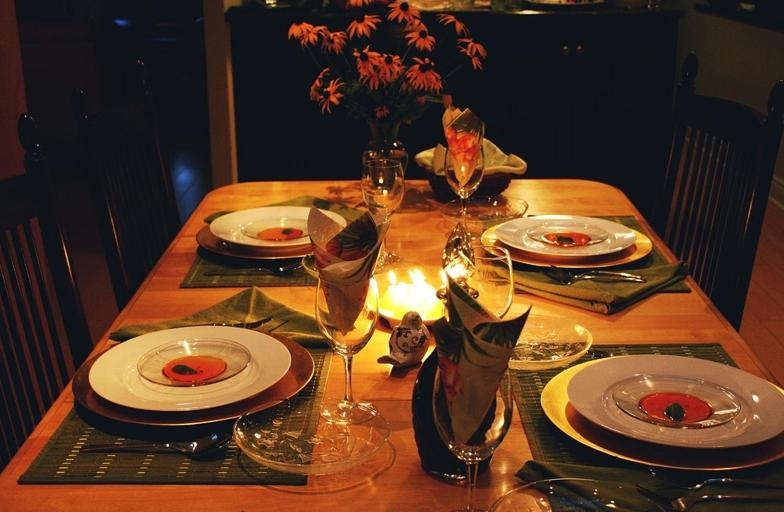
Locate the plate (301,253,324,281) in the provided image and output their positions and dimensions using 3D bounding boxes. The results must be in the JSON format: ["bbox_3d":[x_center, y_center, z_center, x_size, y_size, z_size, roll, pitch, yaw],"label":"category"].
[{"bbox_3d":[-0.164,0.024,1.120,0.052,0.018,0.052,30,42,31],"label":"plate"}]

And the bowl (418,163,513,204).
[{"bbox_3d":[0.293,-0.257,1.918,0.266,0.092,0.258,4,2,0],"label":"bowl"}]

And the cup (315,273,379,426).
[{"bbox_3d":[-0.075,0.132,0.913,0.097,0.261,0.164,-2,28,-7],"label":"cup"}]

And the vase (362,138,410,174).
[{"bbox_3d":[-0.001,-0.308,1.855,0.156,0.169,0.150,-2,6,-15],"label":"vase"}]

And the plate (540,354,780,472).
[{"bbox_3d":[0.411,0.250,0.839,0.216,0.021,0.206,-4,20,-7],"label":"plate"}]

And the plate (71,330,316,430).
[{"bbox_3d":[-0.347,0.218,0.962,0.412,0.019,0.197,-4,27,-11],"label":"plate"}]

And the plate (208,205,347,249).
[{"bbox_3d":[-0.373,-0.091,1.607,0.231,0.029,0.221,4,23,3],"label":"plate"}]

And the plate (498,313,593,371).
[{"bbox_3d":[0.306,0.168,1.082,0.137,0.031,0.128,0,21,3],"label":"plate"}]

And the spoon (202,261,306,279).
[{"bbox_3d":[-0.355,0.037,1.405,0.274,0.031,0.037,0,12,-4],"label":"spoon"}]

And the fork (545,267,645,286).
[{"bbox_3d":[0.489,0.051,1.347,0.188,0.026,0.038,2,7,6],"label":"fork"}]
